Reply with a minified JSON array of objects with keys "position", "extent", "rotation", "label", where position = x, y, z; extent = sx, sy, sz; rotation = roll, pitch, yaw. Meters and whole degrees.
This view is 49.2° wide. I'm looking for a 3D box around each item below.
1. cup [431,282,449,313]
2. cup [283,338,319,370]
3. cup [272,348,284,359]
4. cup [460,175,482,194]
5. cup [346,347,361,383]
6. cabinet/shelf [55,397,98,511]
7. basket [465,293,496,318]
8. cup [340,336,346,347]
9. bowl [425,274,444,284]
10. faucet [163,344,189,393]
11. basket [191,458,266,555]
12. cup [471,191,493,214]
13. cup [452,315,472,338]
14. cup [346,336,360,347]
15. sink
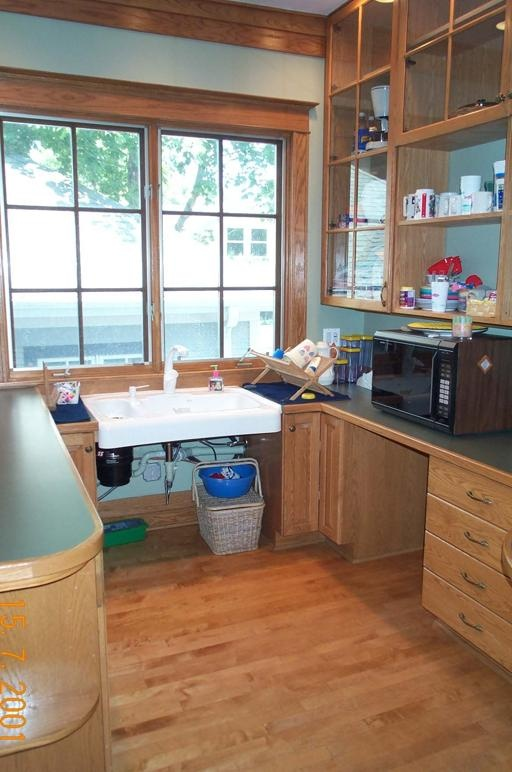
[{"position":[0.754,-0.360,2.280],"extent":[0.082,0.146,0.051],"rotation":[19,31,39],"label":"cup"},{"position":[0.218,-0.149,2.742],"extent":[0.163,0.134,0.186],"rotation":[1,7,3],"label":"cup"},{"position":[0.118,-0.168,2.911],"extent":[0.052,0.080,0.074],"rotation":[2,-6,-10],"label":"cup"},{"position":[0.808,-0.754,2.099],"extent":[0.069,0.090,0.125],"rotation":[3,7,20],"label":"cup"},{"position":[0.546,-0.110,3.115],"extent":[0.078,0.196,0.063],"rotation":[0,7,-3],"label":"cup"},{"position":[-0.775,0.288,2.373],"extent":[0.170,0.364,0.300],"rotation":[-2,7,-21],"label":"cabinet/shelf"},{"position":[0.811,-0.279,2.014],"extent":[0.093,0.064,0.099],"rotation":[1,8,20],"label":"basket"},{"position":[0.490,-0.247,3.134],"extent":[0.038,0.060,0.099],"rotation":[1,7,7],"label":"cup"},{"position":[0.755,-0.445,2.354],"extent":[0.080,0.052,0.083],"rotation":[-1,9,0],"label":"bowl"},{"position":[-0.417,-0.088,2.845],"extent":[0.116,0.238,0.356],"rotation":[-1,7,-9],"label":"faucet"},{"position":[-0.161,0.597,2.900],"extent":[0.319,0.490,0.465],"rotation":[-2,4,-14],"label":"basket"},{"position":[0.819,-0.662,2.029],"extent":[0.031,0.076,0.099],"rotation":[-2,7,-19],"label":"cup"},{"position":[0.736,-0.209,1.999],"extent":[0.072,0.085,0.072],"rotation":[-1,7,0],"label":"cup"},{"position":[0.535,-0.242,3.097],"extent":[0.061,0.063,0.061],"rotation":[2,-4,0],"label":"cup"},{"position":[-0.370,0.127,2.667],"extent":[0.851,0.181,0.575],"rotation":[-3,7,-24],"label":"sink"}]
